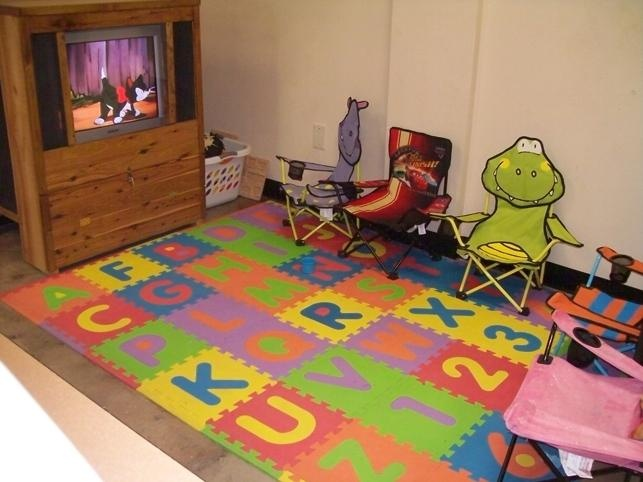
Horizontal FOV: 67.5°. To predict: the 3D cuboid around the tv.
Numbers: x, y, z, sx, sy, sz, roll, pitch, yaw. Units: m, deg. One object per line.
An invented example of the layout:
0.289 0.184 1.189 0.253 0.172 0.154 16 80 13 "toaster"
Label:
-1.719 -1.298 3.926 0.105 0.883 0.996 19 26 37 "tv"
